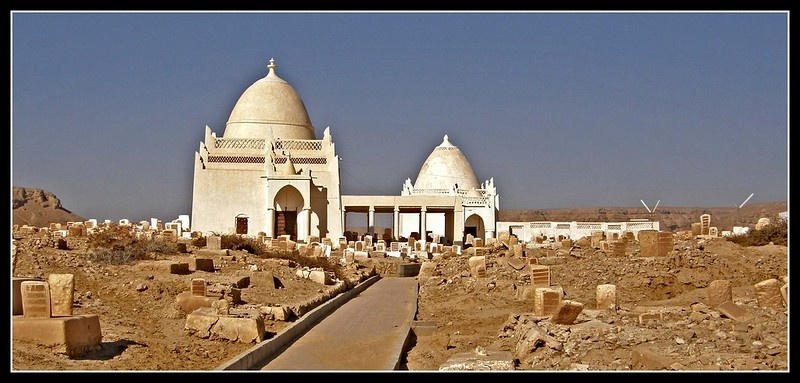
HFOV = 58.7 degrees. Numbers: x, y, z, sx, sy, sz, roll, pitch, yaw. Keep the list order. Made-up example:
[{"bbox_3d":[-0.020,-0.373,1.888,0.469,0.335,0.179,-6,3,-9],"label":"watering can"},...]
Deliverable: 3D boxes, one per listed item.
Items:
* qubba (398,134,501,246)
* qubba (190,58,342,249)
[{"bbox_3d":[4.861,-0.594,50.299,8.415,7.299,7.468,0,-5,-4],"label":"qubba"},{"bbox_3d":[-7.452,-1.924,40.508,7.436,9.174,5.389,2,-5,-19],"label":"qubba"}]
